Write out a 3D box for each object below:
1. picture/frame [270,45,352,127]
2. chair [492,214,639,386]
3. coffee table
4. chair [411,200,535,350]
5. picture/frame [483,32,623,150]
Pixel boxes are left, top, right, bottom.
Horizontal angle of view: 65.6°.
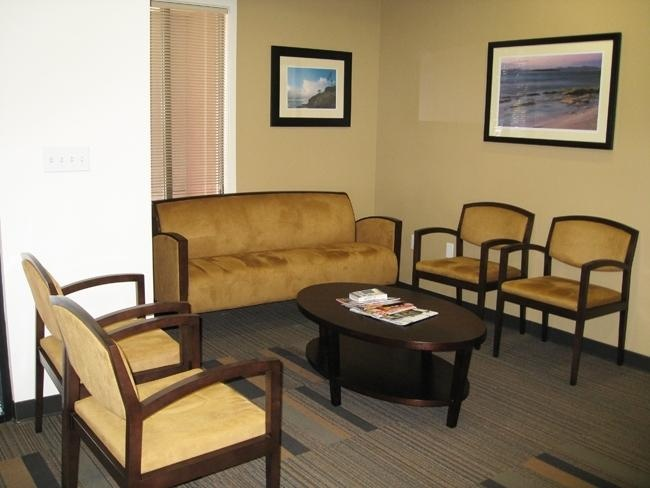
[{"bbox_3d":[-0.188,-1.674,5.314,1.067,0.778,0.043,-3,15,-22],"label":"picture/frame"},{"bbox_3d":[1.837,0.346,3.911,0.807,1.089,0.846,-10,18,-38],"label":"chair"},{"bbox_3d":[0.407,0.695,3.453,0.986,0.534,1.432,-6,12,-33],"label":"coffee table"},{"bbox_3d":[1.324,0.180,4.479,0.740,1.006,0.831,-8,14,-28],"label":"chair"},{"bbox_3d":[1.868,-1.275,4.273,0.037,0.860,1.233,-19,24,-27],"label":"picture/frame"}]
